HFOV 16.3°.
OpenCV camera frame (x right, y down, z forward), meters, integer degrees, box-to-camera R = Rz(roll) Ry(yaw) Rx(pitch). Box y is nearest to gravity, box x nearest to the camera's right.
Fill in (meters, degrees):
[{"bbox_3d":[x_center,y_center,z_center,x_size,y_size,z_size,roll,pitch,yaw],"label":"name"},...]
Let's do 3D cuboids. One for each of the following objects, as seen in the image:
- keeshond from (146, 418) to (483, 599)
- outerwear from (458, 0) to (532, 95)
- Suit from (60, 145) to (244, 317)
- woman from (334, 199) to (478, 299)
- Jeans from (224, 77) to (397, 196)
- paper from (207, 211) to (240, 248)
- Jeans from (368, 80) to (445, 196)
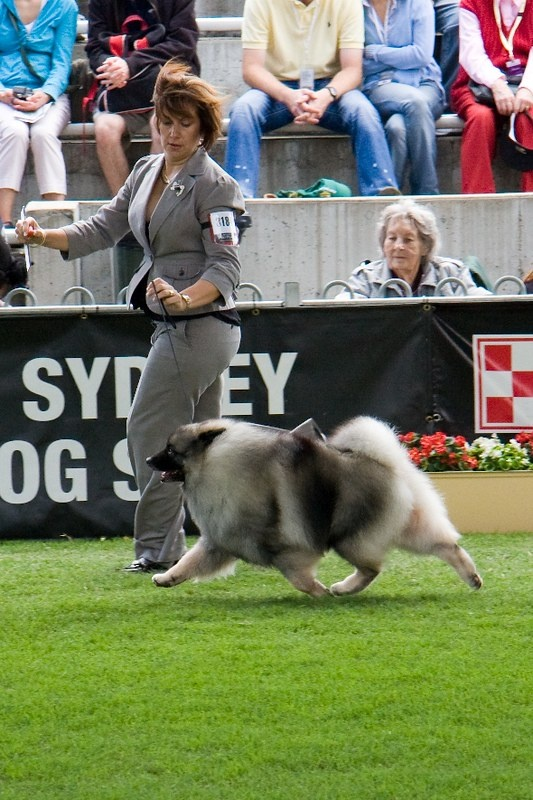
[{"bbox_3d":[0.158,0.396,7.003,1.161,0.696,0.419,-2,9,3],"label":"keeshond"},{"bbox_3d":[1.254,-2.051,10.806,0.396,0.654,0.136,1,-19,-13],"label":"outerwear"},{"bbox_3d":[-0.421,-0.677,7.302,0.730,0.635,0.502,9,8,20],"label":"Suit"},{"bbox_3d":[0.708,-0.710,9.082,0.724,0.526,0.385,0,7,19],"label":"woman"},{"bbox_3d":[0.226,-1.457,10.660,0.966,0.643,0.799,-3,15,-1],"label":"Jeans"},{"bbox_3d":[-0.180,-0.657,7.125,0.133,0.167,0.023,-3,-7,-28],"label":"paper"},{"bbox_3d":[0.821,-1.501,10.847,0.381,0.718,0.240,-3,2,7],"label":"Jeans"}]
